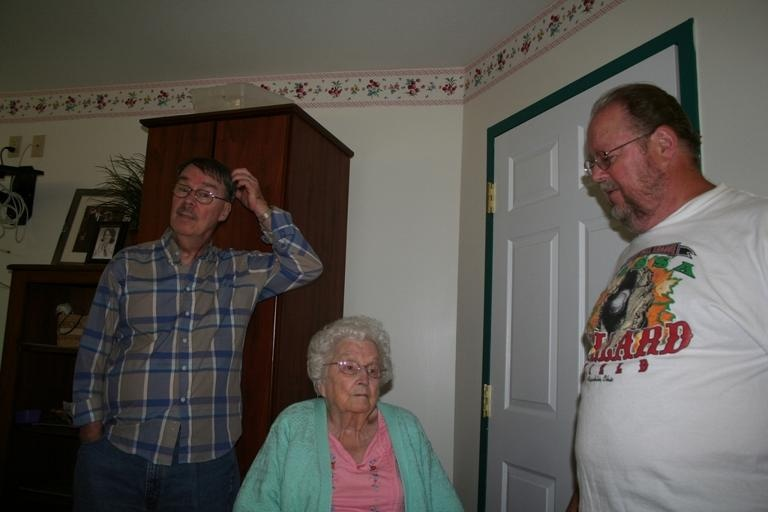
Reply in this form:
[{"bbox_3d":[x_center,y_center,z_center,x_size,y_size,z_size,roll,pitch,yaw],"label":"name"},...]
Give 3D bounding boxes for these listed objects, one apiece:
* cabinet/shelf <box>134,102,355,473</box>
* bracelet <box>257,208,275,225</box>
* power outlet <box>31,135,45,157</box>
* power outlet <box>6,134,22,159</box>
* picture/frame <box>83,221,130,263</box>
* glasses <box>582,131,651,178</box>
[{"bbox_3d":[-0.747,0.300,2.903,0.871,2.168,0.819,-5,-23,3],"label":"cabinet/shelf"},{"bbox_3d":[-0.576,-0.192,2.612,0.065,0.085,0.031,3,10,9],"label":"bracelet"},{"bbox_3d":[-2.526,-0.810,3.951,0.111,0.175,0.007,-1,-10,8],"label":"power outlet"},{"bbox_3d":[-2.723,-0.816,3.986,0.123,0.174,0.011,-2,-10,11],"label":"power outlet"},{"bbox_3d":[-1.711,-0.082,3.350,0.280,0.348,0.034,-1,-29,11],"label":"picture/frame"},{"bbox_3d":[0.856,-0.360,1.989,0.144,0.046,0.142,-28,2,-6],"label":"glasses"}]
